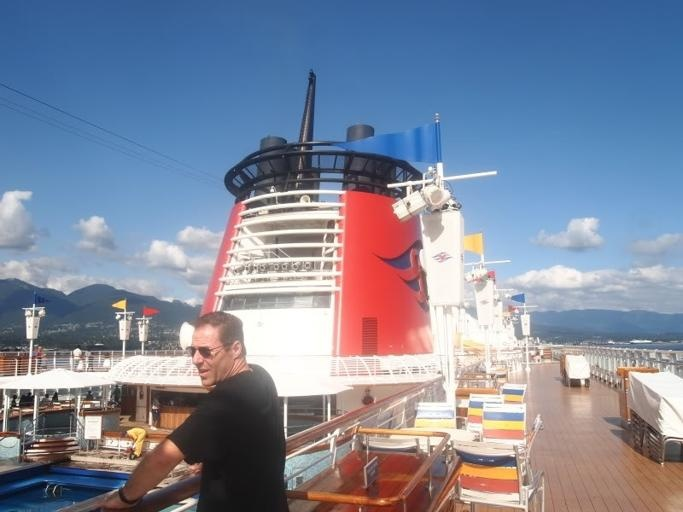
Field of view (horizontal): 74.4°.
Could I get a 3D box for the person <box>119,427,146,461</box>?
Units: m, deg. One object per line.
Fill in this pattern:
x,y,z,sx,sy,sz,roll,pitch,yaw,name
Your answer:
-6.197,5.587,13.425,0.750,0.758,0.774,-5,-5,-13,person

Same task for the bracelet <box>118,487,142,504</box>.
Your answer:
-1.169,1.308,2.447,0.123,0.029,0.112,21,-8,-28,bracelet

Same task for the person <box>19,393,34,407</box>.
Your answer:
-15.699,7.176,22.505,0.588,0.664,1.598,6,-15,-34,person
